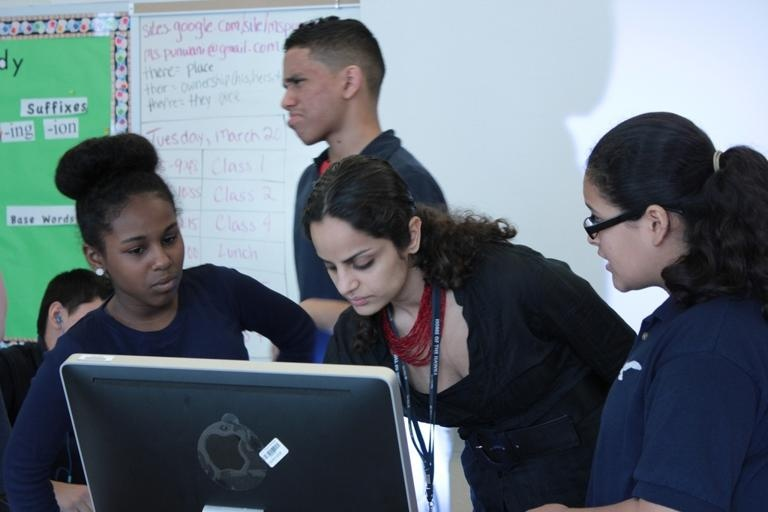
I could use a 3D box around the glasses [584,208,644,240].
[{"bbox_3d":[0.683,-0.092,2.211,0.101,0.029,0.099,-23,-3,2],"label":"glasses"}]
